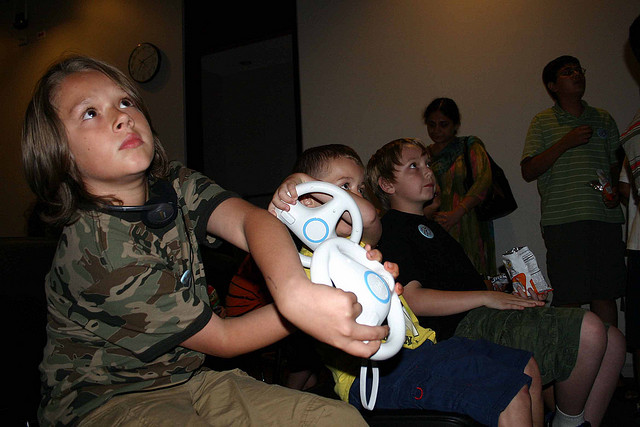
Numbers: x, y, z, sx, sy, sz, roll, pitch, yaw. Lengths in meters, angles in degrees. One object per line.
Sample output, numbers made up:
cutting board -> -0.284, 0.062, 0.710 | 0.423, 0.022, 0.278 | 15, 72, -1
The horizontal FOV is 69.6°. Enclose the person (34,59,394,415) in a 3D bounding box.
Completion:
person -> -0.325, 0.245, 1.462 | 1.174, 1.354, 0.504 | 3, 17, 15

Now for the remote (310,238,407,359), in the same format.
remote -> 0.120, 0.195, 1.226 | 0.110, 0.316, 0.287 | -30, -27, 27

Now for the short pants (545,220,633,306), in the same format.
short pants -> 1.498, 0.254, 2.712 | 0.321, 0.484, 0.444 | 6, 4, 16

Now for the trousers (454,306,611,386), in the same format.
trousers -> 0.837, 0.441, 1.796 | 0.416, 0.170, 0.275 | -2, -20, 34

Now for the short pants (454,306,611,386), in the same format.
short pants -> 0.851, 0.435, 1.967 | 0.551, 0.317, 0.544 | 5, 4, 21

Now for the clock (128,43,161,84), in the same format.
clock -> -1.626, -1.399, 4.263 | 0.314, 0.389, 0.159 | -4, 8, -32

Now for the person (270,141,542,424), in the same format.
person -> 0.237, 0.328, 1.866 | 0.984, 1.199, 0.778 | -7, -12, 8
